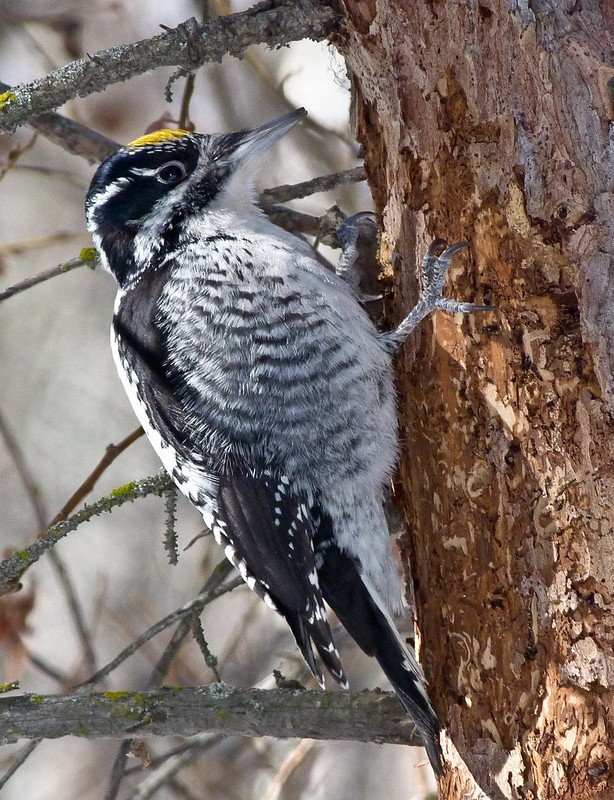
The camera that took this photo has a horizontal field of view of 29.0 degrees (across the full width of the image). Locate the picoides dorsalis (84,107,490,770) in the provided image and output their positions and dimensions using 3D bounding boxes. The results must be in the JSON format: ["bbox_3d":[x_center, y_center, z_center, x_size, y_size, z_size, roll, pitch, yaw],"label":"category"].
[{"bbox_3d":[-0.052,0.037,3.451,0.678,1.950,1.059,-17,-3,-23],"label":"picoides dorsalis"}]
